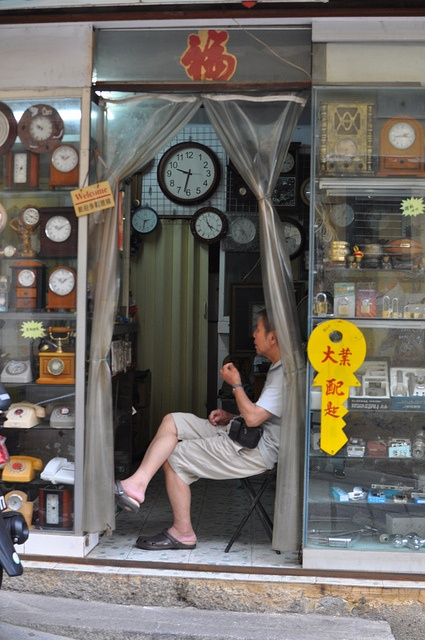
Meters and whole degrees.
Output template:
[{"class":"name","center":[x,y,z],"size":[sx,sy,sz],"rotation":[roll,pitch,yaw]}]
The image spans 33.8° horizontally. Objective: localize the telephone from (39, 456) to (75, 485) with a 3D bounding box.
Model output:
[{"class":"telephone","center":[-0.779,0.774,3.564],"size":[0.169,0.130,0.102],"rotation":[2,0,-4]}]

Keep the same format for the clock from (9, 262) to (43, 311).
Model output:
[{"class":"clock","center":[-0.974,-0.175,3.683],"size":[0.153,0.270,0.112],"rotation":[1,6,-4]}]

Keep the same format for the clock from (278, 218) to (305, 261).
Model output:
[{"class":"clock","center":[0.688,-0.681,5.837],"size":[0.249,0.351,0.138],"rotation":[2,0,-18]}]

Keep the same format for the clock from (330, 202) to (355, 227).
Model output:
[{"class":"clock","center":[0.640,-0.514,3.428],"size":[0.117,0.109,0.026],"rotation":[-1,5,-14]}]

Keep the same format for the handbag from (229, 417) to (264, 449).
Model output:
[{"class":"handbag","center":[0.168,0.580,3.554],"size":[0.168,0.122,0.066],"rotation":[20,10,19]}]

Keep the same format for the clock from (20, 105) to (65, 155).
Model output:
[{"class":"clock","center":[-0.890,-0.987,3.650],"size":[0.239,0.249,0.131],"rotation":[0,6,-2]}]

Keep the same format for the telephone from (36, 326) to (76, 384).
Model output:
[{"class":"telephone","center":[-0.801,0.188,3.604],"size":[0.186,0.296,0.130],"rotation":[1,6,-7]}]

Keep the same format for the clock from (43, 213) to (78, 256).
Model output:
[{"class":"clock","center":[-0.795,-0.450,3.623],"size":[0.222,0.248,0.045],"rotation":[3,0,30]}]

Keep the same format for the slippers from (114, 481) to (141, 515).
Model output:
[{"class":"slippers","center":[-0.396,0.890,3.462],"size":[0.201,0.072,0.079],"rotation":[43,-19,-15]}]

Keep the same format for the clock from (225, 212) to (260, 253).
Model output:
[{"class":"clock","center":[0.261,-0.748,5.970],"size":[0.291,0.327,0.099],"rotation":[3,0,-2]}]

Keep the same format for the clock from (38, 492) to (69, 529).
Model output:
[{"class":"clock","center":[-0.792,0.960,3.592],"size":[0.170,0.186,0.104],"rotation":[-2,-5,15]}]

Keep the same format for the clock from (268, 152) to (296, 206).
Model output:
[{"class":"clock","center":[0.626,-1.164,5.833],"size":[0.192,0.455,0.133],"rotation":[3,0,0]}]

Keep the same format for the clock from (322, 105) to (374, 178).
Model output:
[{"class":"clock","center":[0.654,-0.875,3.391],"size":[0.259,0.356,0.024],"rotation":[3,0,-3]}]

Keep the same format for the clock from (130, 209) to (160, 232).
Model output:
[{"class":"clock","center":[-0.574,-0.841,5.913],"size":[0.290,0.302,0.053],"rotation":[1,-1,2]}]

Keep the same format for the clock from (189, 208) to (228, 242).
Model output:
[{"class":"clock","center":[-0.022,-0.802,5.911],"size":[0.315,0.295,0.040],"rotation":[0,3,3]}]

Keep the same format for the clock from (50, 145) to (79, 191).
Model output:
[{"class":"clock","center":[-0.761,-0.786,3.608],"size":[0.131,0.236,0.100],"rotation":[0,5,3]}]

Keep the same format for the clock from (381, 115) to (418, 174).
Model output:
[{"class":"clock","center":[0.926,-0.837,3.397],"size":[0.211,0.290,0.016],"rotation":[3,0,3]}]

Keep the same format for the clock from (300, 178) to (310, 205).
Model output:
[{"class":"clock","center":[0.800,-1.078,5.892],"size":[0.084,0.223,0.075],"rotation":[3,0,40]}]

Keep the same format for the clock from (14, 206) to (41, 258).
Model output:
[{"class":"clock","center":[-0.991,-0.469,3.718],"size":[0.159,0.259,0.027],"rotation":[3,0,18]}]

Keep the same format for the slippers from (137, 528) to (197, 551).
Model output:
[{"class":"slippers","center":[-0.207,1.121,3.654],"size":[0.302,0.070,0.322],"rotation":[-2,4,0]}]

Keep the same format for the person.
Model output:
[{"class":"person","center":[-0.066,0.540,3.757],"size":[0.770,1.193,0.830],"rotation":[3,7,-33]}]

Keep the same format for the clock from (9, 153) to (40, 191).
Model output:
[{"class":"clock","center":[-0.993,-0.793,3.683],"size":[0.182,0.186,0.027],"rotation":[3,0,19]}]
